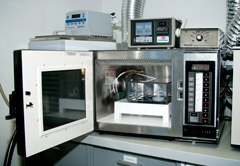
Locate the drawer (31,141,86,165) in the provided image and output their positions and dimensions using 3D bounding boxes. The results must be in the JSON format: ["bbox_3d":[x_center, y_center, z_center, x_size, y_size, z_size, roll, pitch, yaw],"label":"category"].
[{"bbox_3d":[-0.405,0.541,1.533,0.270,0.059,0.243,0,6,22],"label":"drawer"}]

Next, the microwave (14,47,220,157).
[{"bbox_3d":[-0.027,0.062,1.460,1.168,0.601,0.690,-3,7,-10],"label":"microwave"}]

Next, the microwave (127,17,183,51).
[{"bbox_3d":[0.240,-0.334,1.413,0.383,0.223,0.250,0,7,7],"label":"microwave"}]
